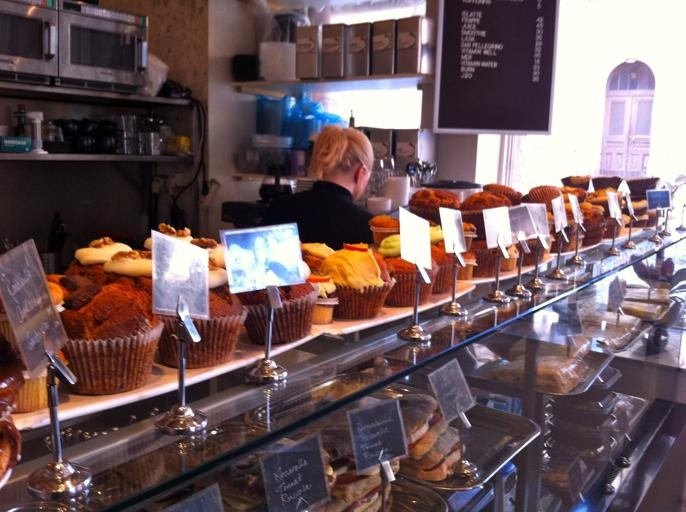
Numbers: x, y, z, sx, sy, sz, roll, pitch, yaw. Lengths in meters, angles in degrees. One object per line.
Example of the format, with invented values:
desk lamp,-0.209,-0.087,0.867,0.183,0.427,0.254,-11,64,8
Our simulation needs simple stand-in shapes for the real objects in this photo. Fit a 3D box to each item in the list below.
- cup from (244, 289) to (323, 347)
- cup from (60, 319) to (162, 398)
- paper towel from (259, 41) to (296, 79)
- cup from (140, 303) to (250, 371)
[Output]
cup,-0.147,0.111,1.104,0.181,0.095,0.180,-2,4,0
cup,-0.427,0.201,0.943,0.152,0.082,0.153,-9,-13,-2
paper towel,-0.472,-1.428,3.905,0.292,0.250,0.293,2,13,0
cup,-0.294,0.143,1.041,0.221,0.110,0.222,6,2,0
